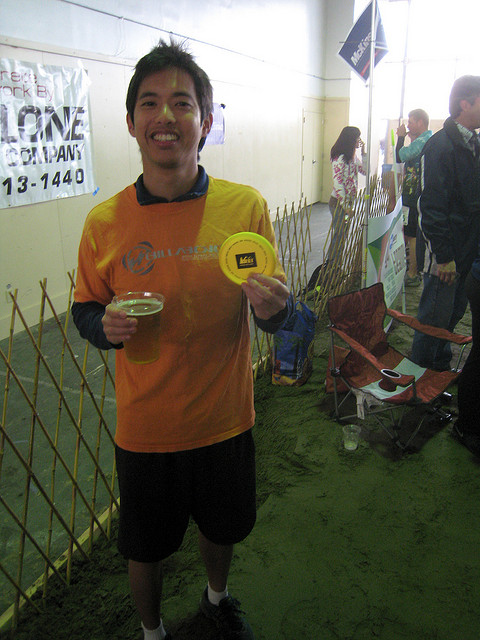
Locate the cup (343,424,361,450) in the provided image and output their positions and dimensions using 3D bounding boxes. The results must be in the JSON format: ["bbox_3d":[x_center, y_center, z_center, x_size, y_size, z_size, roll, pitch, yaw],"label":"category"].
[{"bbox_3d":[0.666,0.697,2.665,0.099,0.118,0.097,1,4,0],"label":"cup"}]

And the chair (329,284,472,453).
[{"bbox_3d":[0.920,0.299,2.773,0.689,0.871,0.785,8,25,34],"label":"chair"}]

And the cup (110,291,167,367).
[{"bbox_3d":[-0.218,0.036,1.007,0.119,0.190,0.157,-5,18,-10],"label":"cup"}]
